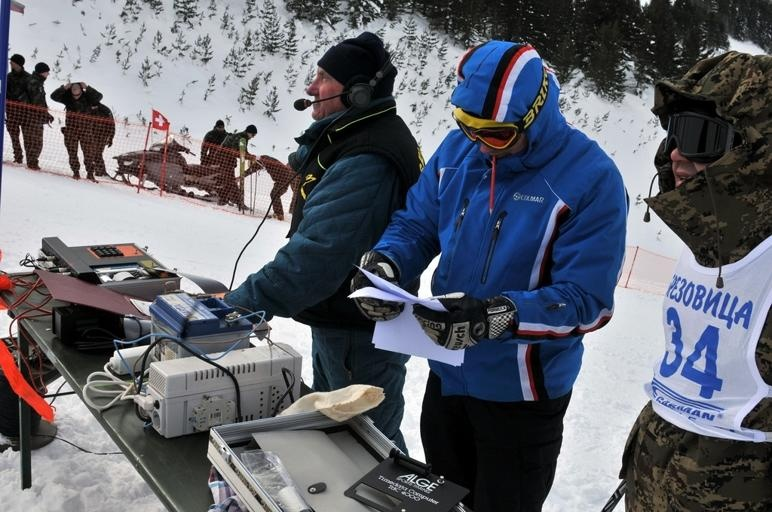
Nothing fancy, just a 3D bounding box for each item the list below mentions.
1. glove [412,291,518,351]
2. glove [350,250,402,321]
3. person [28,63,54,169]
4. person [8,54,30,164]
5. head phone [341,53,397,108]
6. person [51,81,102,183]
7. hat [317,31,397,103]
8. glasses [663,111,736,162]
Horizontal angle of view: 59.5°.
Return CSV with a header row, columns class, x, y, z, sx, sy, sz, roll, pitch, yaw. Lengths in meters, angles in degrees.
class,x,y,z,sx,sy,sz,roll,pitch,yaw
glove,0.380,0.269,2.976,0.350,0.263,0.155,-14,-27,-1
glove,-0.040,0.128,3.179,0.212,0.324,0.116,9,-37,-25
person,-5.422,-2.192,10.603,0.367,1.614,0.711,-1,13,-27
person,-5.721,-2.273,10.524,0.326,1.649,0.552,-2,14,-32
head phone,-0.077,-0.989,3.870,0.311,0.115,0.241,-38,16,-8
person,-4.902,-1.990,10.757,0.676,1.491,0.571,2,12,-16
hat,-0.211,-1.206,3.991,0.493,0.396,0.403,6,-30,7
glasses,1.342,-0.511,2.885,0.219,0.110,0.221,-1,21,-30
